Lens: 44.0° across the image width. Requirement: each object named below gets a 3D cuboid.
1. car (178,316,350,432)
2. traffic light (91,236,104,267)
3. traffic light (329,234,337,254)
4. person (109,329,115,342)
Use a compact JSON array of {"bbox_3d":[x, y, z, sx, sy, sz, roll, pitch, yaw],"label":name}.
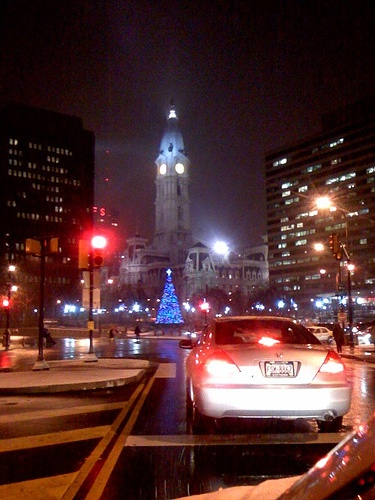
[{"bbox_3d":[0.962,1.692,6.018,1.818,1.518,1.757,1,-5,-10],"label":"car"},{"bbox_3d":[-3.575,0.045,18.556,0.532,1.308,1.561,1,-5,-10],"label":"traffic light"},{"bbox_3d":[8.623,-0.367,27.407,0.472,1.135,1.121,-1,-5,19],"label":"traffic light"},{"bbox_3d":[-6.642,7.432,40.888,0.333,1.261,2.270,1,-5,-12],"label":"person"}]
